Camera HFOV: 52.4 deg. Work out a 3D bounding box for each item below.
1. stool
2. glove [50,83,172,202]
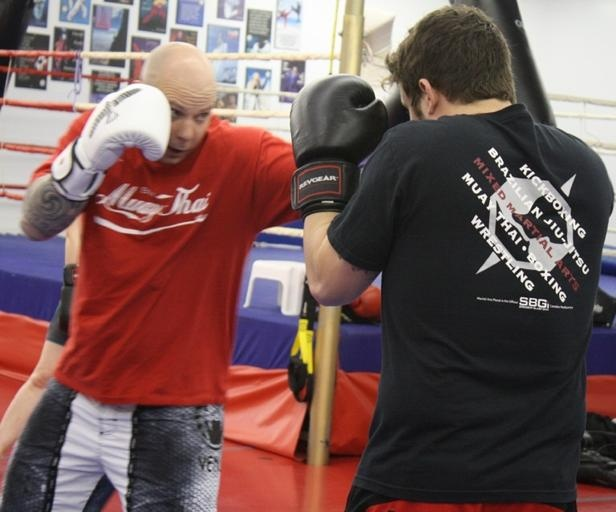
[{"bbox_3d":[-0.150,0.179,3.304,0.287,0.254,0.294,6,0,16],"label":"stool"},{"bbox_3d":[-0.384,-0.217,1.376,0.201,0.268,0.117,56,23,18],"label":"glove"}]
